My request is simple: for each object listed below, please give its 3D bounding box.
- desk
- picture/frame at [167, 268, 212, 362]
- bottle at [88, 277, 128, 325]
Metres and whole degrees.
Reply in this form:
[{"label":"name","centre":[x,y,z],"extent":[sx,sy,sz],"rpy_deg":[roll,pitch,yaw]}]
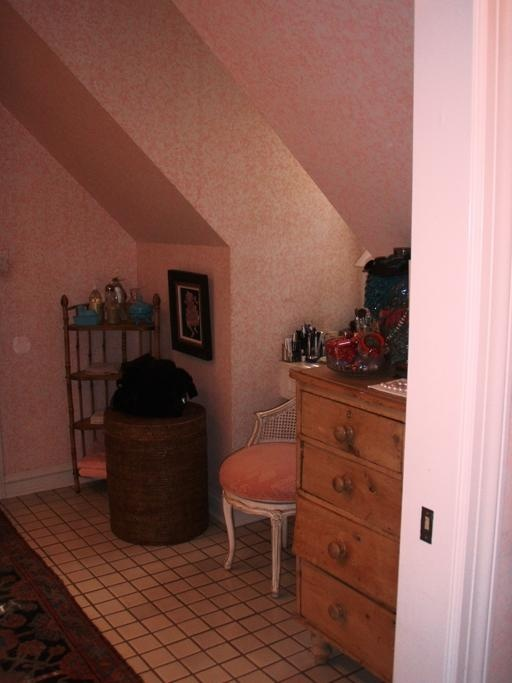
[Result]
[{"label":"desk","centre":[-0.518,0.730,3.297],"extent":[0.604,0.629,0.587],"rpy_deg":[-5,-6,-15]},{"label":"picture/frame","centre":[-0.392,-0.172,3.443],"extent":[0.045,0.578,0.534],"rpy_deg":[-12,16,-34]},{"label":"bottle","centre":[-0.991,-0.279,3.876],"extent":[0.245,0.293,0.346],"rpy_deg":[0,7,-13]}]
